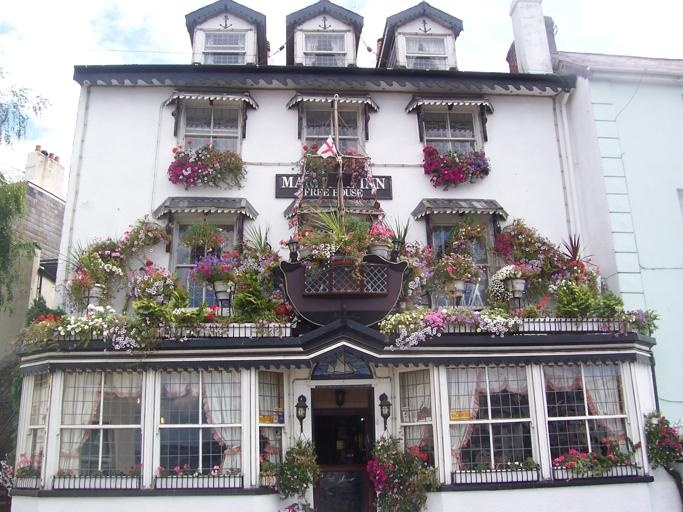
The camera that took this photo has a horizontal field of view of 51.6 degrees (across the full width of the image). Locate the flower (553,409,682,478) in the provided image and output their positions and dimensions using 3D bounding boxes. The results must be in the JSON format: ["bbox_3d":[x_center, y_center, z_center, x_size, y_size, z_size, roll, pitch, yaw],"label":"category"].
[{"bbox_3d":[6.272,4.082,16.312,2.166,0.795,1.507,-8,-8,-1],"label":"flower"}]

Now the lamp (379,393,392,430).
[{"bbox_3d":[1.052,3.634,16.483,0.286,0.839,0.387,-2,-20,3],"label":"lamp"}]

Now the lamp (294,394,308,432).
[{"bbox_3d":[-0.905,3.597,16.320,0.282,0.866,0.377,1,-20,-4],"label":"lamp"}]
